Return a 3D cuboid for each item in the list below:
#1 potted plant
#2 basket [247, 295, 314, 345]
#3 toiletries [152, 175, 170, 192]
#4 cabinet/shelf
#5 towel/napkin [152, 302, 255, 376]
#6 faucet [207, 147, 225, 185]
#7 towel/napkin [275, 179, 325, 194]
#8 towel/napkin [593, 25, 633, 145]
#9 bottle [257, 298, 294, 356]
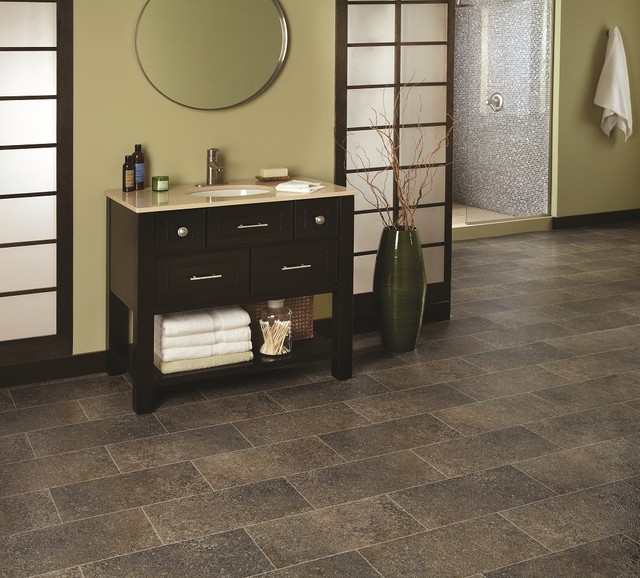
[{"bbox_3d":[0.446,-0.320,3.256,0.523,1.282,0.484,4,-6,-31],"label":"potted plant"},{"bbox_3d":[-0.204,0.200,2.966,0.330,0.322,0.183,-3,-1,-9],"label":"basket"},{"bbox_3d":[-0.735,-0.481,2.598,0.080,0.077,0.079,-6,11,-38],"label":"toiletries"},{"bbox_3d":[-0.428,-0.016,2.759,1.063,0.890,0.590,-8,16,-33],"label":"cabinet/shelf"},{"bbox_3d":[-0.512,0.224,2.513,0.326,0.161,0.301,-4,10,-20],"label":"towel/napkin"},{"bbox_3d":[-0.520,-0.618,2.831,0.083,0.173,0.172,-4,15,-3],"label":"faucet"},{"bbox_3d":[-0.089,-0.480,2.655,0.210,0.040,0.294,0,15,12],"label":"towel/napkin"},{"bbox_3d":[3.039,-2.112,5.803,0.545,1.131,0.288,-11,17,-28],"label":"towel/napkin"},{"bbox_3d":[-0.221,0.195,2.740,0.150,0.244,0.148,4,10,-1],"label":"bottle"}]
